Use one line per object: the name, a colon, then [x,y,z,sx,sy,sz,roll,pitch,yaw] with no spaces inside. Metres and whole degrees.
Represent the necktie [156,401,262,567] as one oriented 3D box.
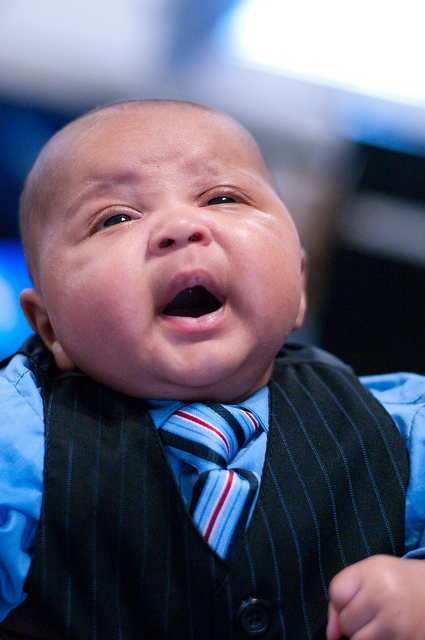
necktie: [0.010,0.220,0.974,0.158,0.077,0.297,-10,33,-4]
